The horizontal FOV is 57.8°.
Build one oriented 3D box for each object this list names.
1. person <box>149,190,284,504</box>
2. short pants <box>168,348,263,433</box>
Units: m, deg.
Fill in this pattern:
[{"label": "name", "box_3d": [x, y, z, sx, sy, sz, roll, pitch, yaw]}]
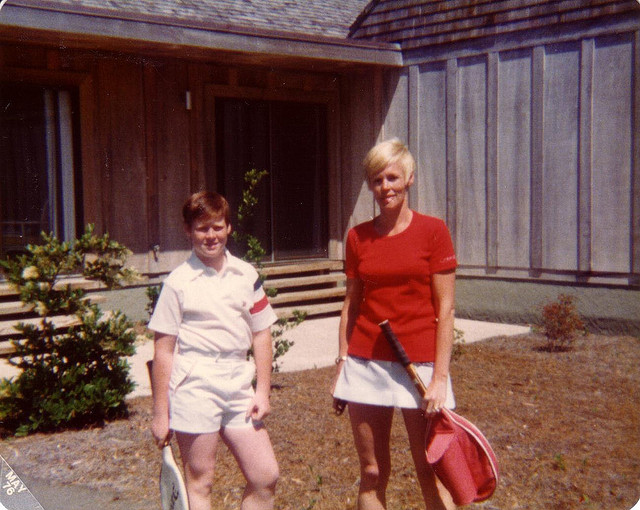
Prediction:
[{"label": "person", "box_3d": [-0.551, 0.491, 3.038, 0.646, 1.623, 0.400, -1, 5, -8]}, {"label": "short pants", "box_3d": [-0.567, 0.633, 3.130, 0.539, 0.630, 0.319, 1, -1, -29]}]
